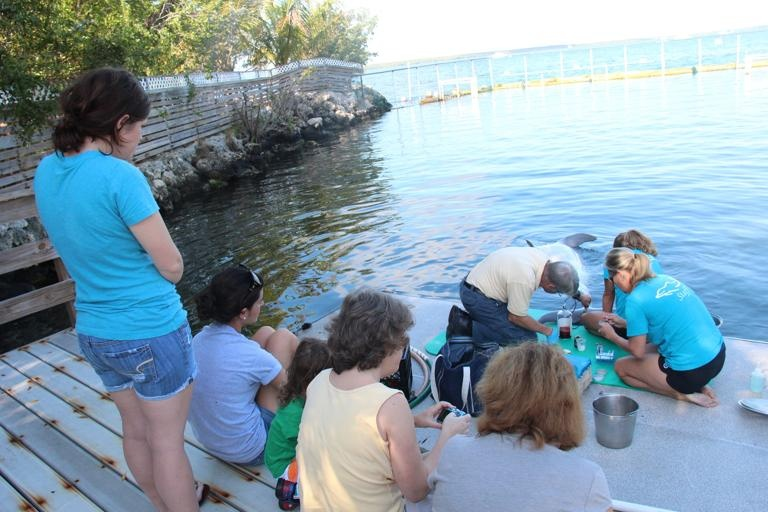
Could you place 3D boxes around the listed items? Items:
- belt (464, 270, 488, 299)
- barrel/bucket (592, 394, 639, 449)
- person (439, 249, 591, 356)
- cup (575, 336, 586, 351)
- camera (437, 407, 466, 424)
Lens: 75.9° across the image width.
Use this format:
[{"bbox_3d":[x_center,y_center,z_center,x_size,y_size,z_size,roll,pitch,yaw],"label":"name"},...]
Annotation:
[{"bbox_3d":[1.023,0.334,5.582,0.303,0.111,0.227,28,2,-13],"label":"belt"},{"bbox_3d":[2.101,1.472,4.522,0.497,0.324,0.461,-4,13,1],"label":"barrel/bucket"},{"bbox_3d":[1.475,0.469,5.634,1.319,1.367,1.021,14,52,3],"label":"person"},{"bbox_3d":[2.329,1.071,5.823,0.123,0.067,0.166,-4,8,5],"label":"cup"},{"bbox_3d":[0.536,1.305,3.955,0.270,0.246,0.103,10,60,3],"label":"camera"}]
